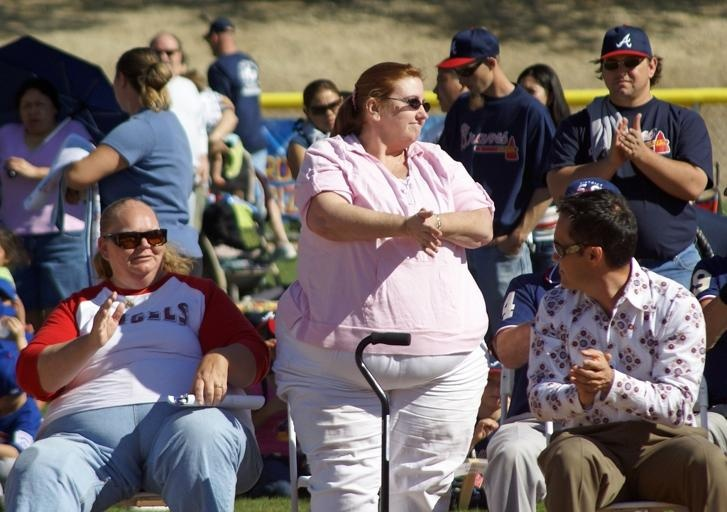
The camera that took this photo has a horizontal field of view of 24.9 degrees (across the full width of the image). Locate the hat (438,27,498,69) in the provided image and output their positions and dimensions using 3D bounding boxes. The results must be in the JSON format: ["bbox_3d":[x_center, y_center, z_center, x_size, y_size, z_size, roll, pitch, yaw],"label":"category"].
[{"bbox_3d":[0.832,-1.630,12.893,0.450,0.326,0.350,-2,4,-4],"label":"hat"}]

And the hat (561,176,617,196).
[{"bbox_3d":[1.521,-0.448,10.787,0.223,0.157,0.352,6,2,-22],"label":"hat"}]

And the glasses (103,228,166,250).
[{"bbox_3d":[-1.522,-0.101,10.937,0.415,0.131,0.131,-3,4,-14],"label":"glasses"}]

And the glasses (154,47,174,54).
[{"bbox_3d":[-1.751,-1.802,14.473,0.150,0.073,0.430,-2,4,-2],"label":"glasses"}]

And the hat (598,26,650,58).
[{"bbox_3d":[1.928,-1.566,12.029,0.376,0.256,0.248,-1,4,9],"label":"hat"}]
